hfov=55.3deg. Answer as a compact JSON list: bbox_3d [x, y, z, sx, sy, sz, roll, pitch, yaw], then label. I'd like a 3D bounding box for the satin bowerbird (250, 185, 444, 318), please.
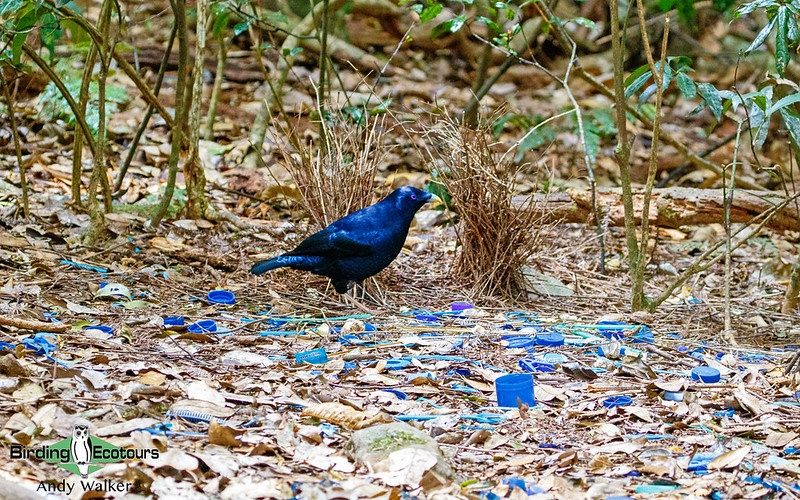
[{"bbox_3d":[-0.383,-0.053,4.684,1.260,0.641,0.413,-2,18,-37],"label":"satin bowerbird"}]
